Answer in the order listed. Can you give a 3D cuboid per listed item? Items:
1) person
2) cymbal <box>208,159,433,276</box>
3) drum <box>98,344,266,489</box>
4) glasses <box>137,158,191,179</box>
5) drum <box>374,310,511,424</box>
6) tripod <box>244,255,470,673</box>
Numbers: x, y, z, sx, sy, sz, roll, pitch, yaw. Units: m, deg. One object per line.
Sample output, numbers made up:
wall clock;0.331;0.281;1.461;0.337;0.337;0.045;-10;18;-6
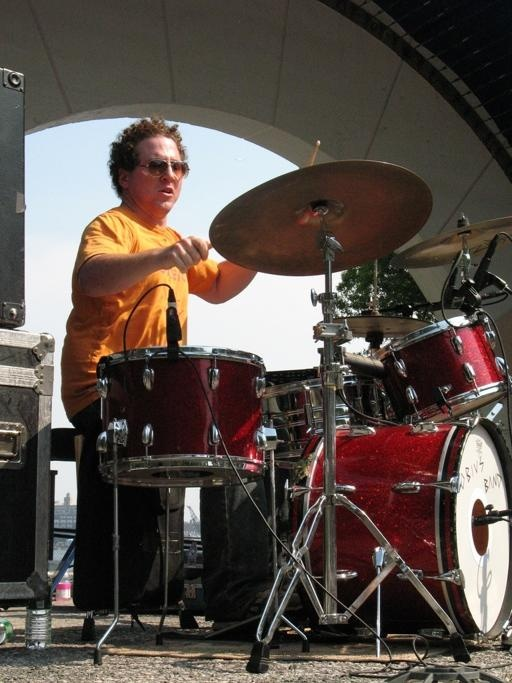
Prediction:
person;-0.391;0.012;3.605;0.820;1.796;0.973;-1;5;-37
cymbal;0.247;-0.442;3.148;0.646;0.471;0.680;9;1;14
drum;-0.243;0.238;2.842;0.565;0.415;0.292;-3;-13;1
glasses;-0.400;-0.732;3.702;0.143;0.037;0.137;0;-9;-28
drum;0.763;0.082;3.351;0.511;0.390;0.527;0;1;0
tripod;0.288;0.341;2.888;0.655;1.300;0.899;-5;-13;3
